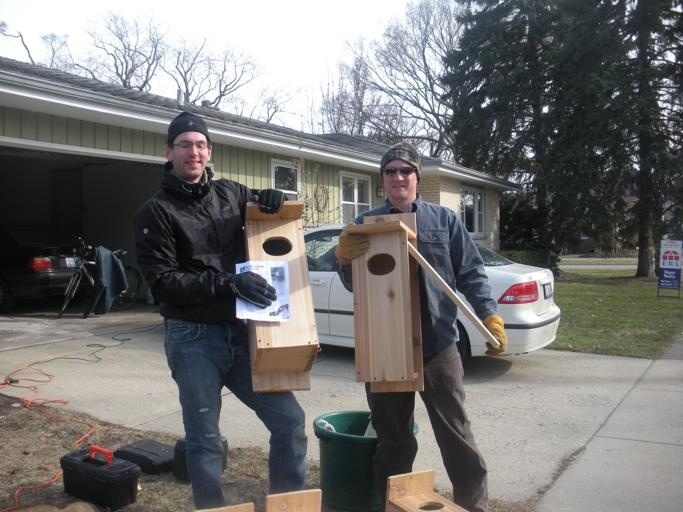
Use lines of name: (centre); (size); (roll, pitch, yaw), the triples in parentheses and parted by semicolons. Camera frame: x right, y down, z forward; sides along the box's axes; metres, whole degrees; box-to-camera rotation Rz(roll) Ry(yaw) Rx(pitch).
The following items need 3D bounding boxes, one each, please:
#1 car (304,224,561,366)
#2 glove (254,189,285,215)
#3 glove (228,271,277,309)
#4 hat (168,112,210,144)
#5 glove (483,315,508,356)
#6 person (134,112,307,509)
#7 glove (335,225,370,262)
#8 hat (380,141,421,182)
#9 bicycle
car: (1.123, 0.494, 7.230); (3.310, 1.334, 1.540); (4, 4, 19)
glove: (-0.443, -0.341, 3.600); (0.140, 0.170, 0.063); (2, -9, -1)
glove: (-0.514, 0.190, 3.360); (0.231, 0.181, 0.062); (41, -30, -21)
hat: (-0.957, -0.798, 3.535); (0.195, 0.187, 0.222); (0, -23, -22)
glove: (0.966, 0.496, 3.718); (0.089, 0.243, 0.164); (-23, -37, 37)
person: (-0.747, 0.270, 3.500); (0.942, 2.308, 0.639); (-1, 4, -23)
glove: (0.060, -0.074, 3.591); (0.209, 0.243, 0.123); (1, 4, 17)
hat: (0.414, -0.664, 4.008); (0.216, 0.252, 0.256); (3, -15, 1)
bicycle: (-4.167, 0.335, 10.059); (0.817, 1.301, 1.836); (3, -1, 13)
